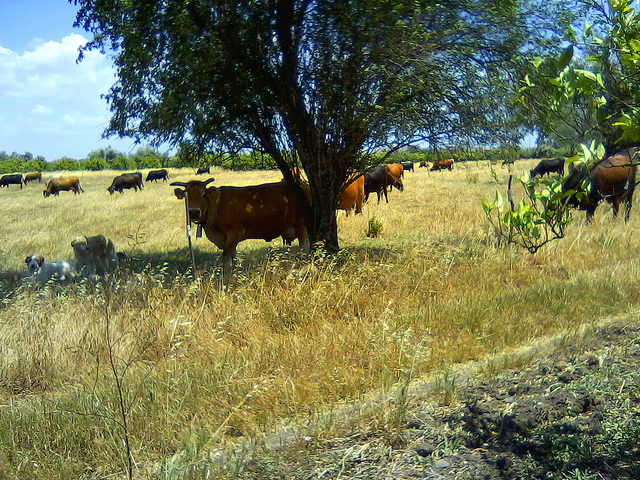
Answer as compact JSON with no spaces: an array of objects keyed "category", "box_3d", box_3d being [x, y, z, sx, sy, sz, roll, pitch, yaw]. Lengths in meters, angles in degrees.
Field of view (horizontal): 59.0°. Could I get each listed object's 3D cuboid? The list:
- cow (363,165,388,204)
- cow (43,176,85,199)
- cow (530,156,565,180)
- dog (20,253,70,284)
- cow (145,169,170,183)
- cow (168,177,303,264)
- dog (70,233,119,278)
[{"category":"cow","box_3d":[2.385,-2.369,24.547,1.011,1.778,2.971,-2,10,7]},{"category":"cow","box_3d":[-17.606,-3.708,39.074,1.272,1.168,3.417,-3,10,1]},{"category":"cow","box_3d":[16.053,-5.079,39.973,1.882,1.392,5.017,2,11,26]},{"category":"dog","box_3d":[-5.206,0.609,10.925,0.356,0.692,1.140,9,8,25]},{"category":"cow","box_3d":[-15.829,-6.166,55.120,1.958,1.226,3.868,-7,11,-20]},{"category":"cow","box_3d":[-1.455,-0.372,11.888,2.958,1.787,0.961,-5,7,-31]},{"category":"dog","box_3d":[-4.679,0.315,11.878,0.412,0.825,1.061,1,11,21]}]
